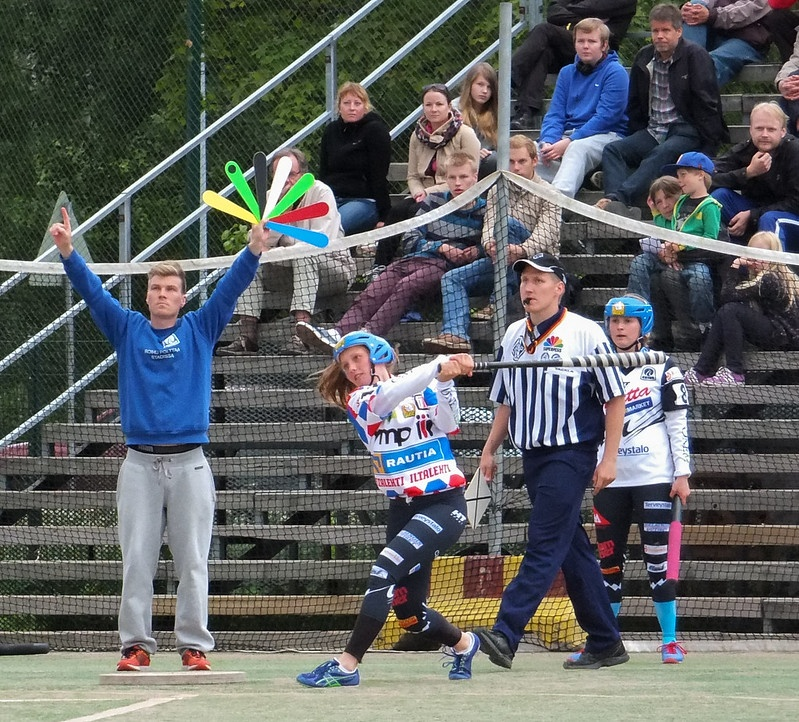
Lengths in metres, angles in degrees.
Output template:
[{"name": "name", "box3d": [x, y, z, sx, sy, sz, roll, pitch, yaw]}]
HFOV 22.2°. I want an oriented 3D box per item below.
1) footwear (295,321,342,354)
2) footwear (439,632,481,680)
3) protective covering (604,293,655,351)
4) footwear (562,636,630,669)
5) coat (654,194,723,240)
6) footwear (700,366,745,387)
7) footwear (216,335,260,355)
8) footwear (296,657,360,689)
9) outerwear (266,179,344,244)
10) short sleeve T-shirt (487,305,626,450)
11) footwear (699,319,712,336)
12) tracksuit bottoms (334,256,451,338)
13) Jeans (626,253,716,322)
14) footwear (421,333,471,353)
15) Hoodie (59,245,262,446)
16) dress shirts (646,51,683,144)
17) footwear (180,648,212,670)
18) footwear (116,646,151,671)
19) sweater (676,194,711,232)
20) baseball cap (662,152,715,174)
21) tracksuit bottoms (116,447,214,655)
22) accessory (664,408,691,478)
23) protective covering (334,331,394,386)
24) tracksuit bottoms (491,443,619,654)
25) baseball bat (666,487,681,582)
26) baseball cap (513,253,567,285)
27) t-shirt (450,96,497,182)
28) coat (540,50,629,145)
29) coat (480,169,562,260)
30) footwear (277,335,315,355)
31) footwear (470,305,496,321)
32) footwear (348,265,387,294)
[{"name": "footwear", "box3d": [-0.584, -0.157, 14.378, 0.228, 0.159, 0.076, 32, -57, -33]}, {"name": "footwear", "box3d": [0.349, 1.751, 12.074, 0.136, 0.384, 0.163, 9, -2, 41]}, {"name": "protective covering", "box3d": [1.474, -0.226, 13.007, 0.273, 0.343, 0.357, -5, -20, 17]}, {"name": "footwear", "box3d": [1.217, 1.778, 12.497, 0.445, 0.211, 0.157, 0, -7, -9]}, {"name": "coat", "box3d": [2.067, -1.013, 14.678, 0.452, 0.462, 0.327, -3, -7, 26]}, {"name": "footwear", "box3d": [2.262, 0.109, 14.242, 0.313, 0.134, 0.126, 3, -3, 2]}, {"name": "footwear", "box3d": [-1.198, -0.109, 14.981, 0.311, 0.134, 0.125, 2, 0, -8]}, {"name": "footwear", "box3d": [-0.405, 1.789, 11.769, 0.386, 0.164, 0.142, 3, -8, -7]}, {"name": "outerwear", "box3d": [-0.652, -0.978, 13.669, 0.494, 0.434, 0.306, -16, -24, 27]}, {"name": "short sleeve T-shirt", "box3d": [0.965, 0.118, 12.301, 0.784, 0.699, 0.416, -9, -17, 30]}, {"name": "footwear", "box3d": [2.167, -0.232, 14.476, 0.090, 0.092, 0.029, 4, 4, 31]}, {"name": "tracksuit bottoms", "box3d": [-0.041, -0.497, 14.602, 0.580, 0.678, 0.197, 34, -12, 41]}, {"name": "Jeans", "box3d": [1.919, -0.518, 14.254, 0.381, 0.359, 0.225, 14, -30, 23]}, {"name": "footwear", "box3d": [0.324, -0.117, 14.402, 0.339, 0.146, 0.137, 5, -37, 3]}, {"name": "Hoodie", "box3d": [-1.608, -0.052, 13.743, 1.506, 1.479, 0.403, 0, -14, -7]}, {"name": "dress shirts", "box3d": [2.074, -2.117, 15.898, 0.370, 0.329, 0.830, 3, -49, 8]}, {"name": "footwear", "box3d": [-1.229, 1.764, 12.210, 0.166, 0.118, 0.161, -3, 1, -2]}, {"name": "footwear", "box3d": [-1.598, 1.773, 12.210, 0.091, 0.108, 0.234, -1, -15, 6]}, {"name": "sweater", "box3d": [2.119, -1.049, 14.643, 0.173, 0.281, 0.292, 9, -4, -38]}, {"name": "baseball cap", "box3d": [2.124, -1.416, 14.783, 0.285, 0.113, 0.189, 12, -4, 5]}, {"name": "tracksuit bottoms", "box3d": [-1.414, 1.173, 12.384, 0.574, 1.273, 0.399, -1, -13, 4]}, {"name": "accessory", "box3d": [1.778, 0.510, 12.886, 0.155, 0.357, 0.155, -3, 1, -13]}, {"name": "protective covering", "box3d": [-0.200, -0.080, 12.201, 0.298, 0.347, 0.385, 15, 13, 33]}, {"name": "tracksuit bottoms", "box3d": [0.922, 1.127, 12.257, 0.824, 1.071, 0.399, -3, 1, -6]}, {"name": "baseball bat", "box3d": [1.727, 1.059, 12.788, 0.094, 0.569, 0.085, 13, -17, -23]}, {"name": "baseball cap", "box3d": [0.847, -0.576, 12.265, 0.266, 0.137, 0.170, 29, -2, -20]}, {"name": "t-shirt", "box3d": [0.652, -1.614, 15.803, 0.281, 0.628, 0.366, 5, -2, -14]}, {"name": "coat", "box3d": [1.486, -2.074, 16.173, 0.684, 0.800, 0.726, 5, 3, -6]}, {"name": "coat", "box3d": [0.875, -0.988, 14.210, 0.413, 0.445, 0.618, -9, -32, 27]}, {"name": "footwear", "box3d": [-0.753, -0.104, 14.896, 0.282, 0.122, 0.104, 5, -31, 7]}, {"name": "footwear", "box3d": [0.594, -0.343, 14.506, 0.204, 0.138, 0.068, 3, -1, 23]}, {"name": "footwear", "box3d": [-0.242, -0.591, 15.011, 0.076, 0.250, 0.098, 56, -18, -20]}]
